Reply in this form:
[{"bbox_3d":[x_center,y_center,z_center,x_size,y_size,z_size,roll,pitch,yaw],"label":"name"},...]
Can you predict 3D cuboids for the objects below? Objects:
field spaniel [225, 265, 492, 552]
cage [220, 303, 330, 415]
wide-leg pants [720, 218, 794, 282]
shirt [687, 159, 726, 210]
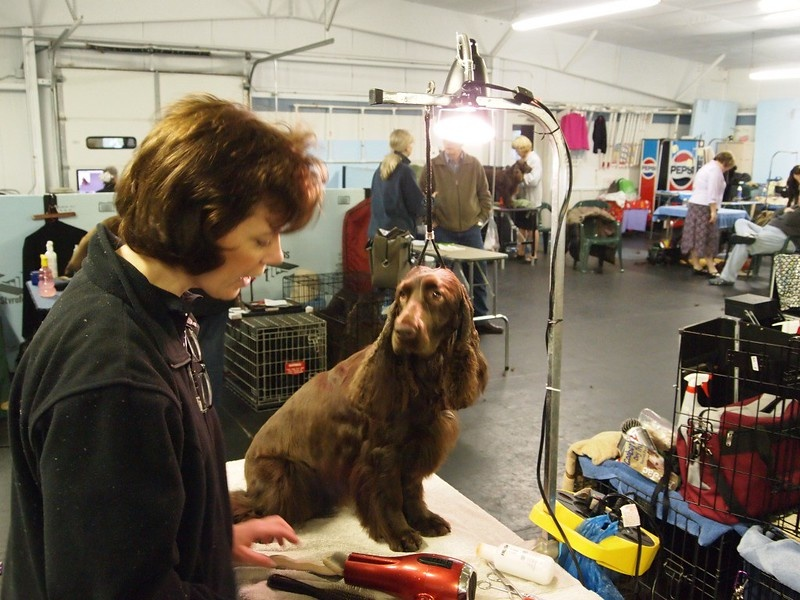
[{"bbox_3d":[-0.241,0.348,2.315,0.775,1.040,0.754,6,12,-17],"label":"field spaniel"},{"bbox_3d":[-0.956,0.315,5.096,0.810,0.849,0.696,-6,13,-29],"label":"cage"},{"bbox_3d":[5.245,-0.765,9.365,0.781,0.921,0.675,12,18,31],"label":"wide-leg pants"},{"bbox_3d":[4.675,-1.740,9.704,0.444,0.705,0.323,10,17,34],"label":"shirt"}]
